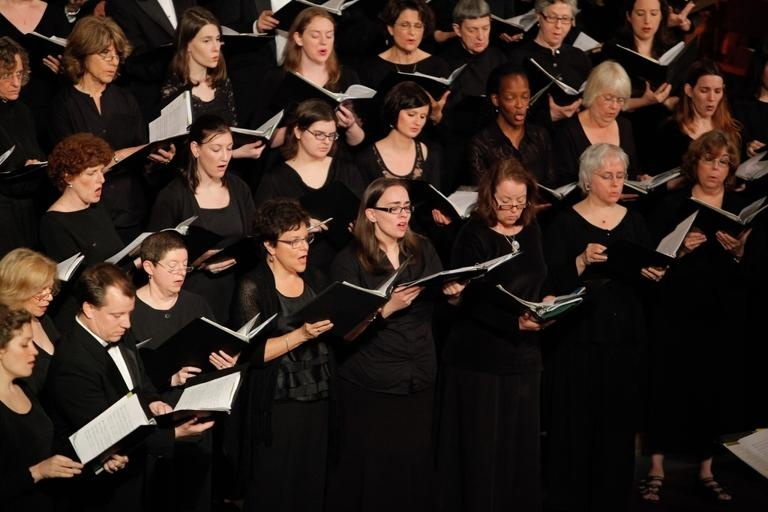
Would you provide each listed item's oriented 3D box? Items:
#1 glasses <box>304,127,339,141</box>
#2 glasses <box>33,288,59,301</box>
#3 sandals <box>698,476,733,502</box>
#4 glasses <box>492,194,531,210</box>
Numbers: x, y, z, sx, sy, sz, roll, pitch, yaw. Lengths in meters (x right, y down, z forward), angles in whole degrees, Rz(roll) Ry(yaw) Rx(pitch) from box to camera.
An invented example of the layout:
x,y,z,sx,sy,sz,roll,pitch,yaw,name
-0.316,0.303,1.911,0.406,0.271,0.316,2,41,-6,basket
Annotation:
x,y,z,sx,sy,sz,roll,pitch,yaw,name
-0.477,-0.894,5.477,0.237,0.084,0.063,-1,38,-14,glasses
-2.092,0.252,4.492,0.089,0.087,0.026,-13,71,-55,glasses
2.547,1.793,5.639,0.103,0.065,0.254,-31,37,-24,sandals
0.880,-0.358,5.172,0.224,0.110,0.072,8,37,-2,glasses
